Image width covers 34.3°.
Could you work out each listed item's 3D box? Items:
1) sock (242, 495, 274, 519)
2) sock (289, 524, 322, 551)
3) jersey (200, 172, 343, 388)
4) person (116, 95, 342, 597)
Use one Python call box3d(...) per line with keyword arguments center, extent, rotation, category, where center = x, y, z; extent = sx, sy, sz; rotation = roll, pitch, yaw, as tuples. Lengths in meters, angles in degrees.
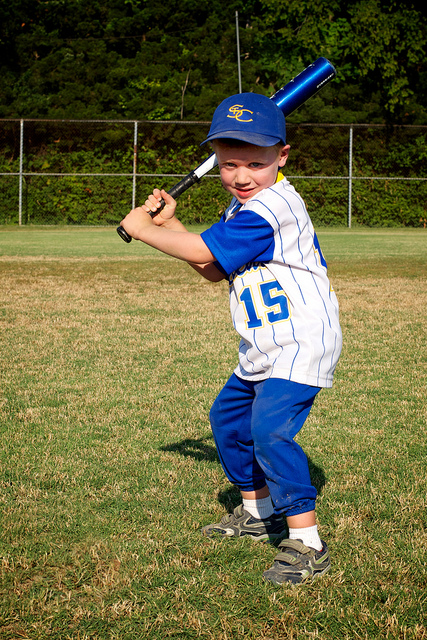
box3d(center=(0.150, 0.593, 2.236), extent=(0.103, 0.075, 0.076), rotation=(-2, 1, -22), category="sock")
box3d(center=(0.257, 0.590, 1.890), extent=(0.093, 0.079, 0.052), rotation=(-1, 0, -8), category="sock")
box3d(center=(0.168, -0.115, 1.965), extent=(0.407, 0.600, 0.325), rotation=(2, 11, 4), category="jersey")
box3d(center=(0.082, -0.051, 2.304), extent=(0.635, 1.405, 1.384), rotation=(1, 10, 2), category="person")
